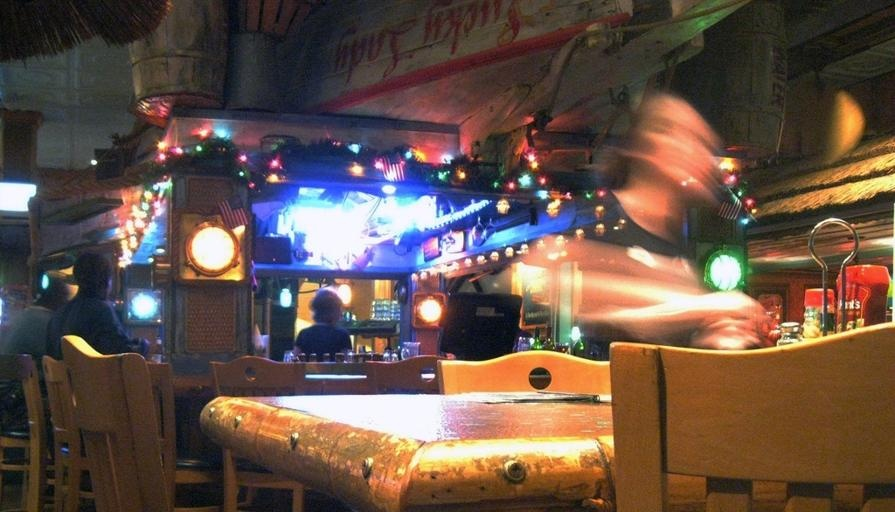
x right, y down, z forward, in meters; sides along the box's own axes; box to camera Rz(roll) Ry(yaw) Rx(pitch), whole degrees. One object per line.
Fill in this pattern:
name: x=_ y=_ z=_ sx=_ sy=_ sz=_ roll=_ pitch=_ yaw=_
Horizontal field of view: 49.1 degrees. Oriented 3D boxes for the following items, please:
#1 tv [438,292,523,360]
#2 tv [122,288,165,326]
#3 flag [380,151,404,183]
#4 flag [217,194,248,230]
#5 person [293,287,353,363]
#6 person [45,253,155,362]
tv: x=0.311 y=0.695 z=9.659 sx=0.848 sy=0.648 sz=0.177 roll=0 pitch=9 yaw=-6
tv: x=-5.146 y=0.852 z=16.663 sx=0.654 sy=0.513 sz=0.554 roll=3 pitch=24 yaw=-6
flag: x=-0.751 y=-1.166 z=12.955 sx=0.481 sy=0.413 sz=0.035 roll=4 pitch=-2 yaw=-9
flag: x=-2.699 y=-0.517 z=12.322 sx=0.403 sy=0.355 sz=0.115 roll=-22 pitch=9 yaw=-12
person: x=-1.805 y=0.996 z=14.260 sx=1.293 sy=1.206 sz=0.660 roll=3 pitch=-5 yaw=-12
person: x=-3.881 y=0.555 z=10.808 sx=1.480 sy=1.105 sz=0.883 roll=2 pitch=0 yaw=40
